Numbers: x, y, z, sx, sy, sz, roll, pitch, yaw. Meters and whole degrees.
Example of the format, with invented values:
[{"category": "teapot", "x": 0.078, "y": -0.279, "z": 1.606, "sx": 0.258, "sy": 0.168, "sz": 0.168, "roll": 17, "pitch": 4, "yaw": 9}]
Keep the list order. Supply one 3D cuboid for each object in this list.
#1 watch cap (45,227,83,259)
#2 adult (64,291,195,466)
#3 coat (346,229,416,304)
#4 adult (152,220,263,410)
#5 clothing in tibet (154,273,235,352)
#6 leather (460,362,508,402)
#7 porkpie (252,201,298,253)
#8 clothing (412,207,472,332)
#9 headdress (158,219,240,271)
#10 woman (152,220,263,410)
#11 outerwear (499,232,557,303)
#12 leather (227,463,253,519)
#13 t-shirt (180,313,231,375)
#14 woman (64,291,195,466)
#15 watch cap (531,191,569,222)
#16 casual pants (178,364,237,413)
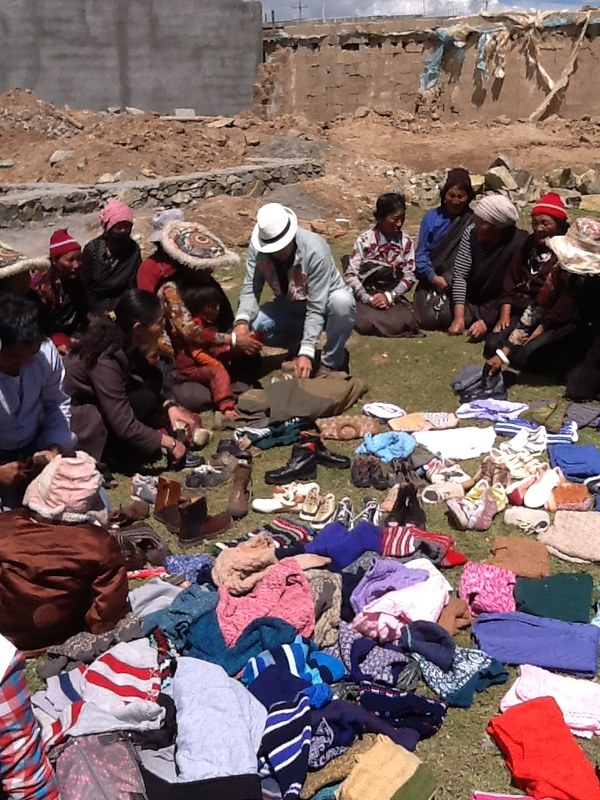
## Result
[{"category": "watch cap", "x": -1.694, "y": -1.094, "z": 4.892, "sx": 0.308, "sy": 0.198, "sz": 0.214, "roll": 1, "pitch": 10, "yaw": 12}, {"category": "adult", "x": -1.004, "y": -0.104, "z": 4.178, "sx": 0.888, "sy": 1.083, "sz": 0.484, "roll": 9, "pitch": 47, "yaw": -15}, {"category": "coat", "x": 0.709, "y": -1.210, "z": 6.236, "sx": 0.649, "sy": 0.661, "sz": 0.415, "roll": -2, "pitch": 27, "yaw": -18}, {"category": "adult", "x": -0.566, "y": -0.479, "z": 5.046, "sx": 1.002, "sy": 1.250, "sz": 1.122, "roll": 2, "pitch": 0, "yaw": -22}, {"category": "clothing in tibet", "x": -0.689, "y": -0.610, "z": 4.958, "sx": 0.583, "sy": 0.502, "sz": 0.409, "roll": 8, "pitch": 29, "yaw": -8}, {"category": "leather", "x": 1.320, "y": -0.128, "z": 5.121, "sx": 0.372, "sy": 0.129, "sz": 0.253, "roll": -9, "pitch": 24, "yaw": 6}, {"category": "porkpie", "x": -0.186, "y": -1.212, "z": 5.042, "sx": 0.381, "sy": 0.153, "sz": 0.415, "roll": 2, "pitch": 33, "yaw": 30}, {"category": "clothing", "x": 1.317, "y": -1.188, "z": 6.430, "sx": 0.680, "sy": 1.009, "sz": 0.396, "roll": 2, "pitch": -10, "yaw": 15}, {"category": "headdress", "x": -0.685, "y": -1.026, "z": 4.881, "sx": 0.467, "sy": 0.141, "sz": 0.426, "roll": -2, "pitch": 51, "yaw": -30}, {"category": "woman", "x": -0.583, "y": -0.541, "z": 4.984, "sx": 0.905, "sy": 1.161, "sz": 0.954, "roll": -3, "pitch": 14, "yaw": -4}, {"category": "outerwear", "x": 1.852, "y": -1.142, "z": 5.783, "sx": 0.516, "sy": 0.177, "sz": 0.265, "roll": -22, "pitch": -7, "yaw": -21}, {"category": "leather", "x": -0.327, "y": 0.508, "z": 3.849, "sx": 0.120, "sy": 0.181, "sz": 0.314, "roll": 6, "pitch": 14, "yaw": 1}, {"category": "t-shirt", "x": -0.676, "y": -0.386, "z": 4.920, "sx": 0.289, "sy": 0.391, "sz": 0.263, "roll": -14, "pitch": 48, "yaw": -19}, {"category": "woman", "x": -1.004, "y": -0.104, "z": 4.178, "sx": 0.888, "sy": 1.083, "sz": 0.484, "roll": 9, "pitch": 47, "yaw": -15}, {"category": "watch cap", "x": 1.948, "y": -1.502, "z": 5.450, "sx": 0.243, "sy": 0.217, "sz": 0.302, "roll": 7, "pitch": 15, "yaw": 17}, {"category": "casual pants", "x": -0.592, "y": -0.112, "z": 4.841, "sx": 0.452, "sy": 0.153, "sz": 0.249, "roll": 40, "pitch": 70, "yaw": 17}]
